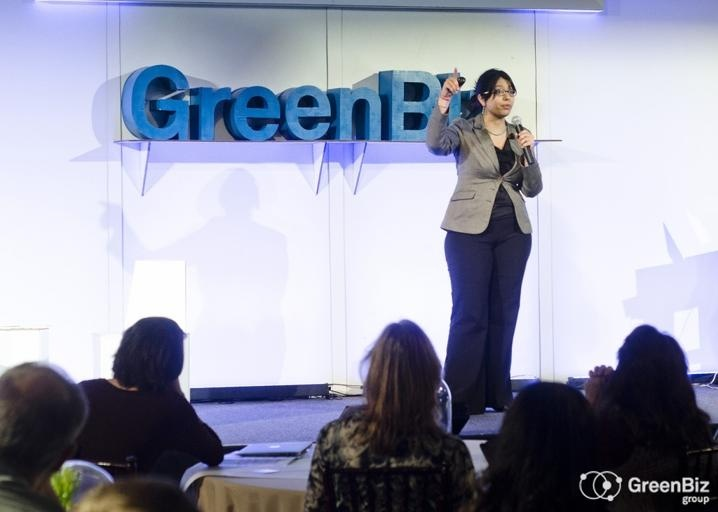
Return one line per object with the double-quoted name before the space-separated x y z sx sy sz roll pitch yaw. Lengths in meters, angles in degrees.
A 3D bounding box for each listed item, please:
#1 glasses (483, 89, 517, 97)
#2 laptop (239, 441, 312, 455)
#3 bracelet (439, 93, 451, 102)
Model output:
"glasses" 0.834 -1.016 4.085 0.191 0.051 0.055 1 -5 7
"laptop" -0.342 0.766 2.615 0.270 0.041 0.172 0 -5 15
"bracelet" 0.484 -0.942 3.890 0.039 0.040 0.040 5 28 -40
